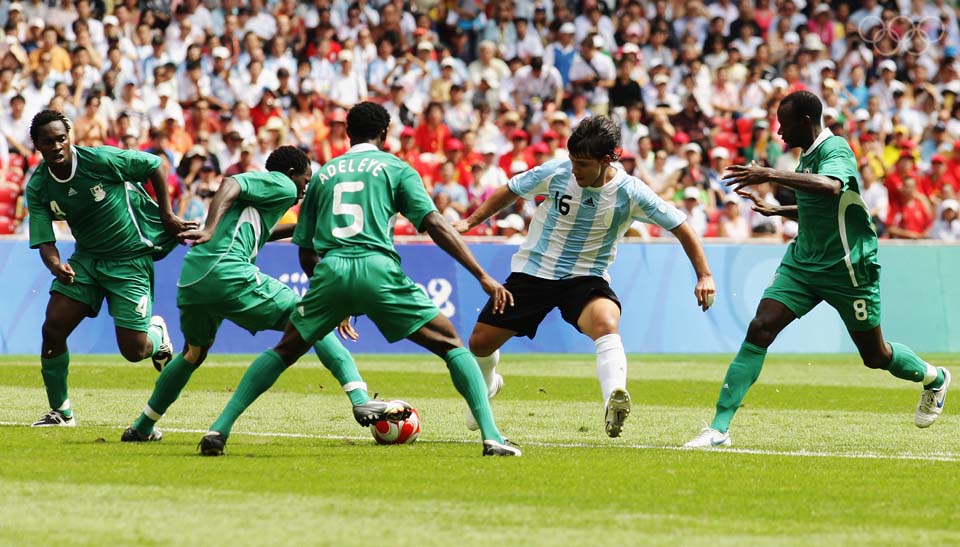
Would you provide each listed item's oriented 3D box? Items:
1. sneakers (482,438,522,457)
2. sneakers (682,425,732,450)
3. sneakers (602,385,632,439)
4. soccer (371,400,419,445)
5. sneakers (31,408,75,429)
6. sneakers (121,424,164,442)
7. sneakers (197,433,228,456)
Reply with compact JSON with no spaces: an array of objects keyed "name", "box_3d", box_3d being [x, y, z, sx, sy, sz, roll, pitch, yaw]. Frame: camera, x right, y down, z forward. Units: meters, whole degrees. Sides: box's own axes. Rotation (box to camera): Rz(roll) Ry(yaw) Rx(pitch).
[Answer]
[{"name":"sneakers","box_3d":[0.211,1.859,12.620,0.465,0.192,0.161,1,-8,-4]},{"name":"sneakers","box_3d":[2.557,1.832,13.291,0.597,0.216,0.205,-2,-3,-14]},{"name":"sneakers","box_3d":[1.481,1.513,12.991,0.257,0.534,0.292,3,12,2]},{"name":"soccer","box_3d":[-0.952,1.622,13.302,0.549,0.485,0.439,-2,9,-7]},{"name":"sneakers","box_3d":[-4.925,1.677,13.847,0.503,0.199,0.193,6,-4,-13]},{"name":"sneakers","box_3d":[-3.738,1.758,13.200,0.470,0.183,0.172,-1,9,-22]},{"name":"sneakers","box_3d":[-2.815,1.784,12.536,0.286,0.247,0.204,1,12,-10]}]
